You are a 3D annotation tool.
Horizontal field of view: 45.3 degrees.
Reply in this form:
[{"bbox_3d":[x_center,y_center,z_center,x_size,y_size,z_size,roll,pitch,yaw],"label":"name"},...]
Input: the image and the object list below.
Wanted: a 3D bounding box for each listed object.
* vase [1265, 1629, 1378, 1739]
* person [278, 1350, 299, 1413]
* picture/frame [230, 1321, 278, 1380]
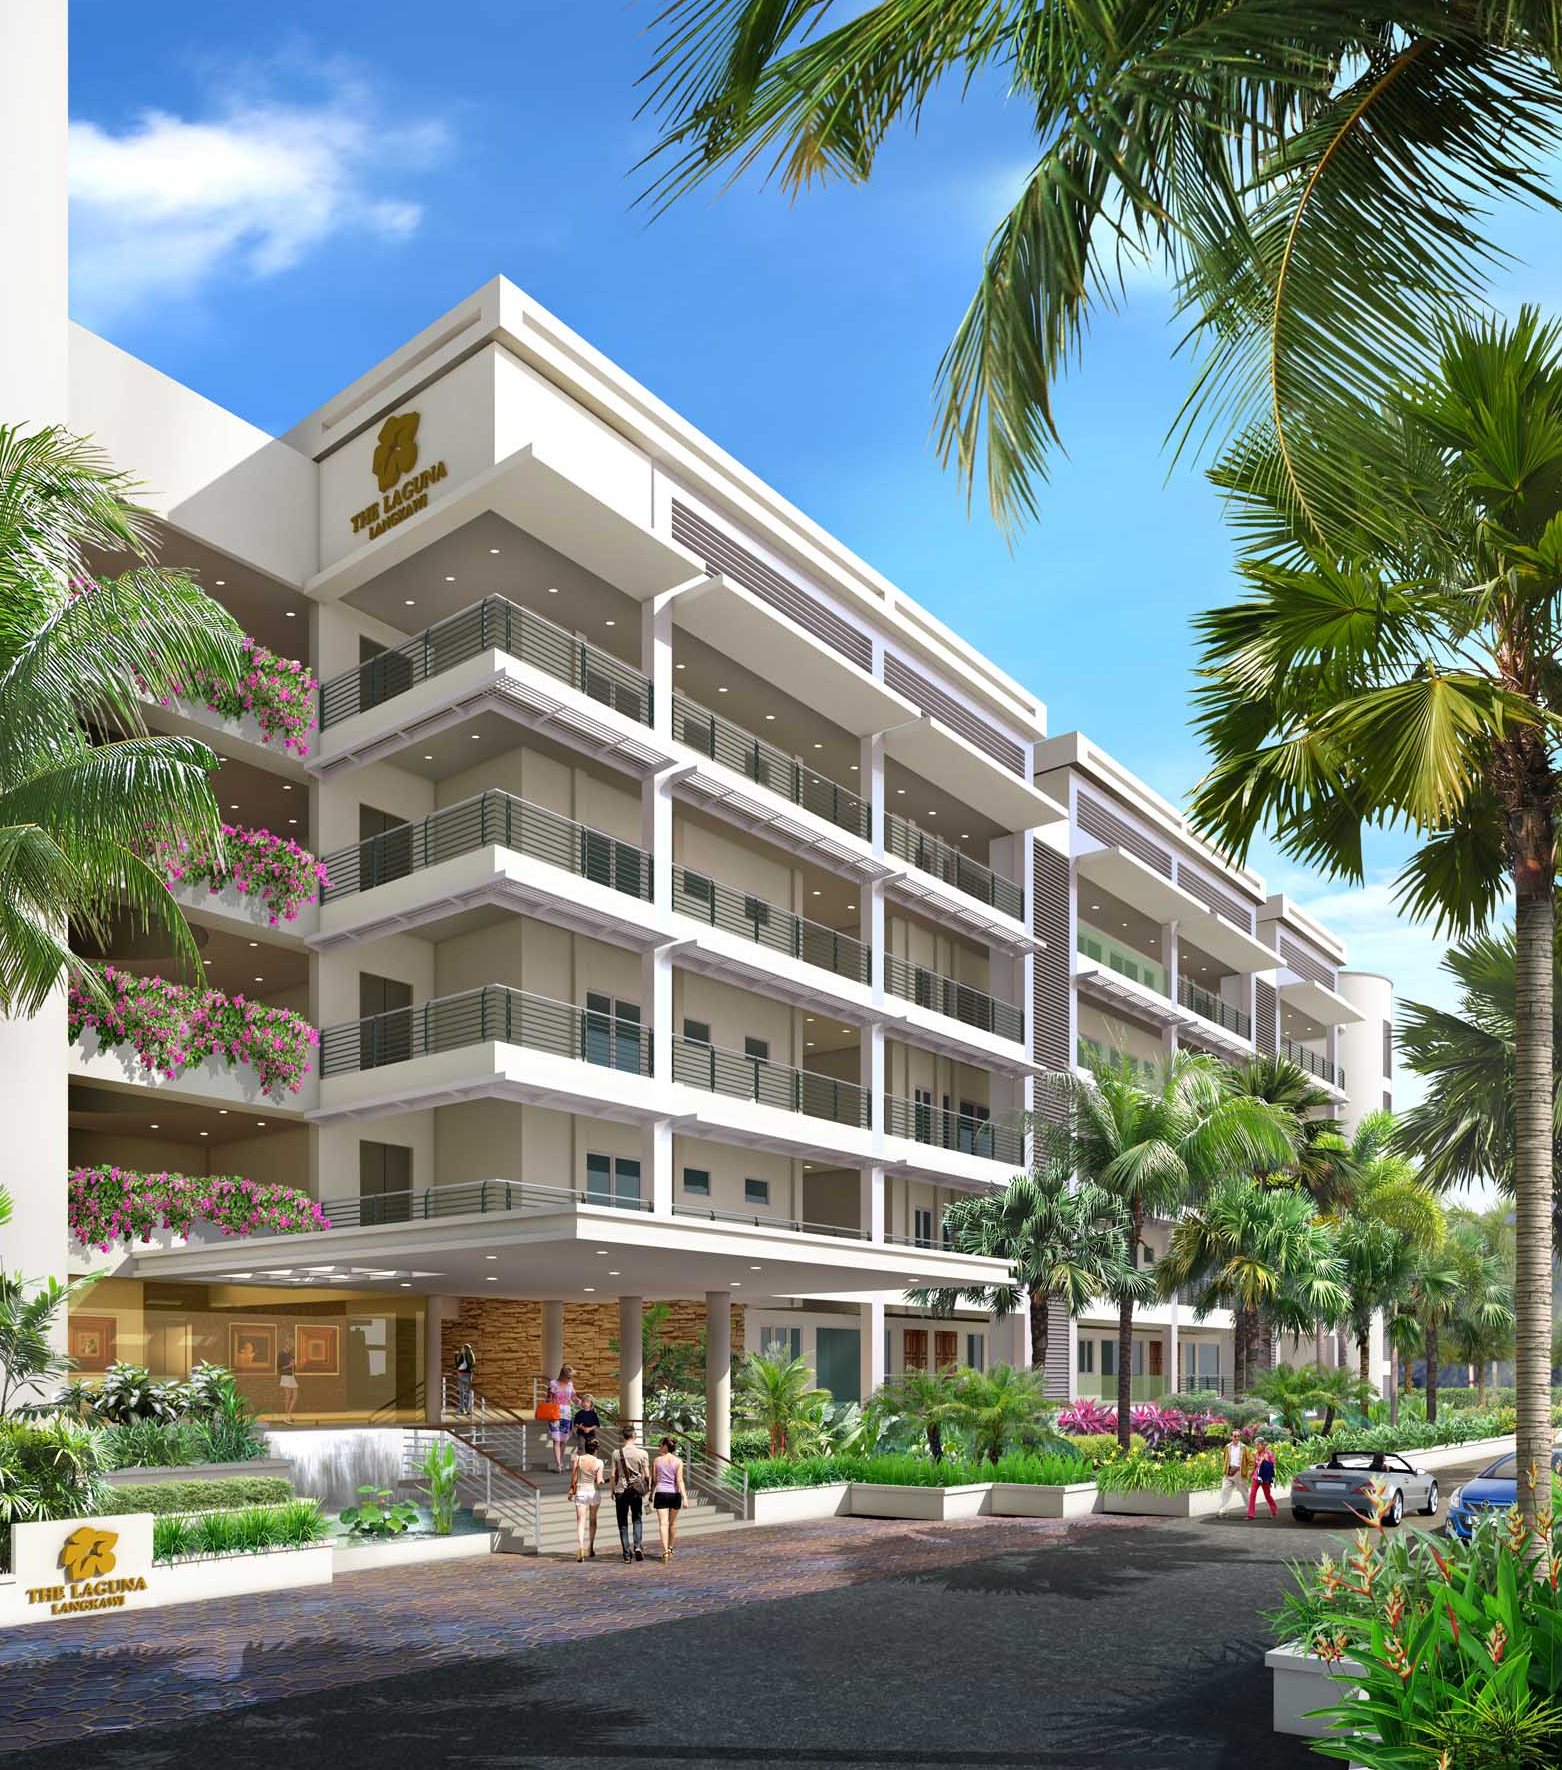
[{"bbox_3d":[3.082,4.710,10.776,0.531,0.611,2.377,-5,-15,13],"label":"vase"},{"bbox_3d":[-6.611,6.599,25.068,0.249,0.809,0.640,-2,-15,3],"label":"person"},{"bbox_3d":[-6.985,6.105,24.704,0.060,0.691,0.763,-16,-22,30],"label":"picture/frame"}]
